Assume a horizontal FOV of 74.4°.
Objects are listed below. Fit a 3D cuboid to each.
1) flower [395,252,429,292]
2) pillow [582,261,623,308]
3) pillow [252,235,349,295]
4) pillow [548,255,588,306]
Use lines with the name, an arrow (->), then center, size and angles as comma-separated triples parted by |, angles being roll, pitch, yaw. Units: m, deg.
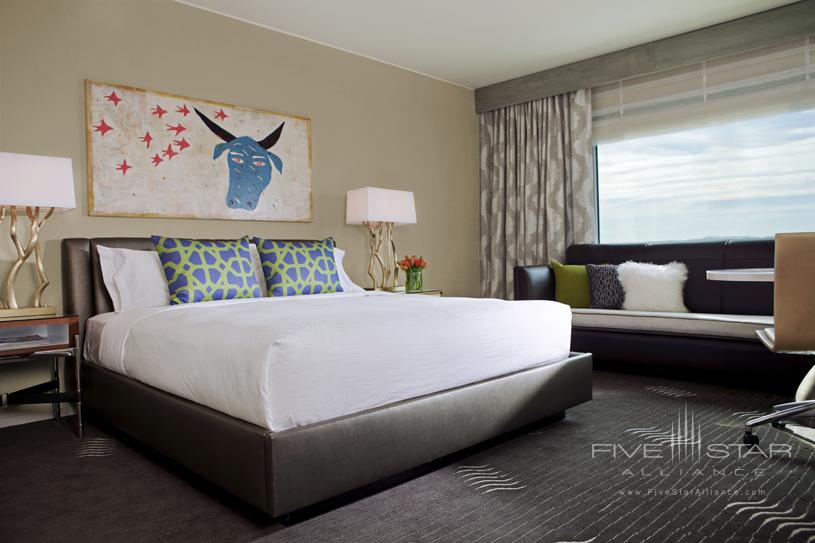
flower -> 0.049, 0.010, 5.337 | 0.376, 0.377, 0.353 | 0, -2, 0
pillow -> 1.795, 0.132, 4.913 | 0.381, 0.425, 0.173 | -8, -13, 41
pillow -> -0.880, -0.043, 4.186 | 0.159, 0.497, 0.597 | -30, -18, 38
pillow -> 1.643, 0.131, 5.112 | 0.487, 0.474, 0.176 | 9, 29, 40
